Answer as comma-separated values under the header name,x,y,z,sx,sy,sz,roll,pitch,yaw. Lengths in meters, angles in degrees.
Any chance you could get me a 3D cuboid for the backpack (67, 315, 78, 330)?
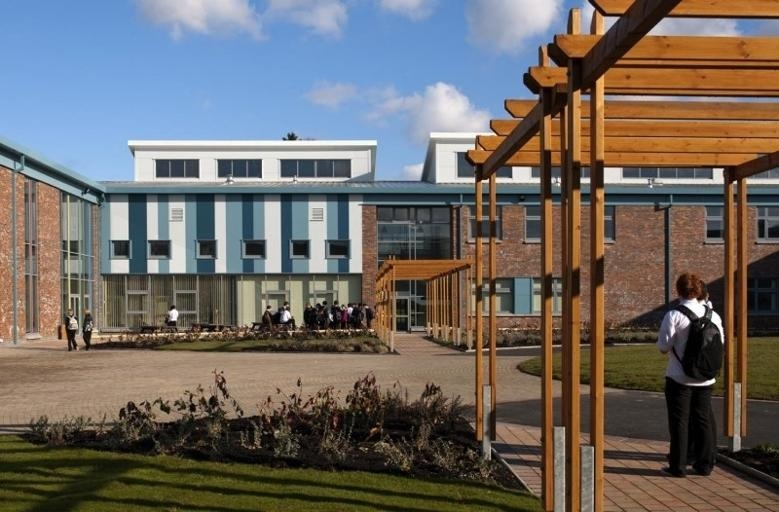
name,x,y,z,sx,sy,sz,roll,pitch,yaw
backpack,-10.348,2.190,38.510,0.284,0.489,0.675,-1,-5,-11
